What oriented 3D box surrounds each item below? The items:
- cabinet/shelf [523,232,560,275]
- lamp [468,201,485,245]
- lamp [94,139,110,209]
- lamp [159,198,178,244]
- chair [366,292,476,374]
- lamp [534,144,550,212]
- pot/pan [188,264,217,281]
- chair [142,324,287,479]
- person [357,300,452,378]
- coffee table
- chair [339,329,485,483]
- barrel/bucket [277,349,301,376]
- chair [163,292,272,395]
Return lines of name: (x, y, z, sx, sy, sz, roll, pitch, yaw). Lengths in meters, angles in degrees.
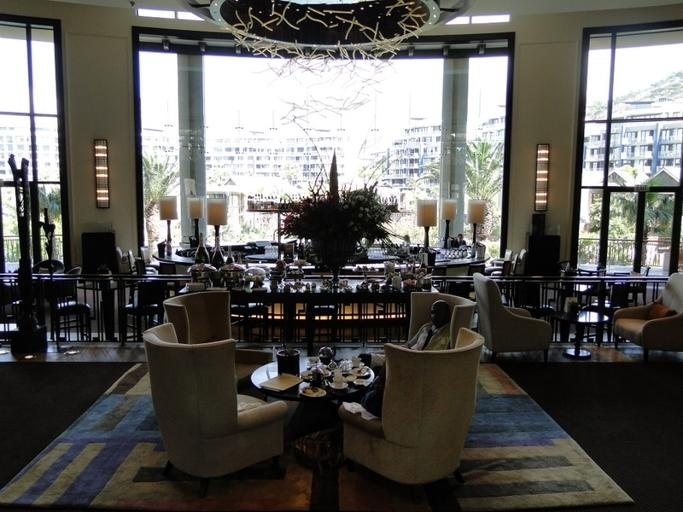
cabinet/shelf: (4.406, 0.218, 12.190, 0.807, 1.289, 0.793, 1, 1, 16)
lamp: (2.895, -0.703, 11.555, 0.379, 0.899, 2.654, 1, 5, 14)
lamp: (-5.161, -1.704, 11.829, 0.296, 1.501, 0.070, 5, 15, 3)
lamp: (-3.493, -0.739, 11.086, 0.310, 0.942, 1.137, -3, 6, -19)
chair: (0.874, 0.894, 6.085, 0.966, 1.092, 0.894, 3, 0, -15)
lamp: (4.446, -1.715, 12.086, 0.323, 1.480, 0.096, -2, 6, -7)
pot/pan: (-1.839, 0.222, 7.283, 0.354, 0.208, 0.230, -2, 5, -15)
chair: (-1.239, 1.430, 5.321, 1.478, 1.314, 1.496, -1, -2, 19)
person: (0.630, 0.866, 5.733, 0.951, 1.072, 0.774, 2, 0, -6)
coffee table: (-0.258, 1.469, 5.372, 0.807, 0.394, 0.808, 1, 4, 5)
chair: (0.703, 1.428, 5.311, 1.232, 1.335, 1.241, 1, 0, 33)
barrel/bucket: (-0.541, 1.129, 5.796, 0.256, 0.263, 0.245, 1, 2, 0)
chair: (-1.408, 1.070, 6.114, 1.006, 1.171, 0.889, 6, 6, 16)
